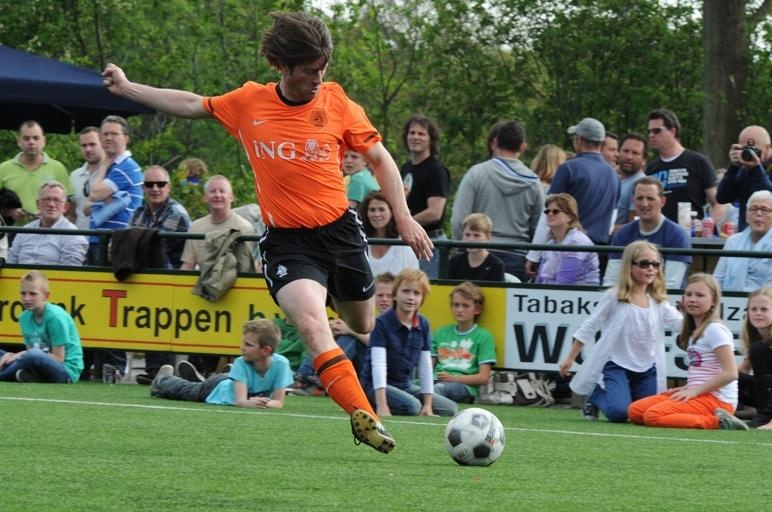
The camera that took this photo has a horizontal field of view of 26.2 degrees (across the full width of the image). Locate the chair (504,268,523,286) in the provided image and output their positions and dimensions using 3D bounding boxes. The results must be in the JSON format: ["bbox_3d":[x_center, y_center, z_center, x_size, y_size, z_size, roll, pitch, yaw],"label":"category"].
[{"bbox_3d":[1.768,0.284,22.964,0.246,0.174,0.547,2,-2,4],"label":"chair"}]

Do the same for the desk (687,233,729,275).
[{"bbox_3d":[4.497,-0.026,23.266,0.660,0.509,0.563,1,4,7],"label":"desk"}]

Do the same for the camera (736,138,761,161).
[{"bbox_3d":[5.032,-1.468,22.820,0.322,0.257,0.316,-1,-3,24],"label":"camera"}]

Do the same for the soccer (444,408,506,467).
[{"bbox_3d":[1.025,2.092,19.146,0.667,0.648,0.225,2,-2,3],"label":"soccer"}]
